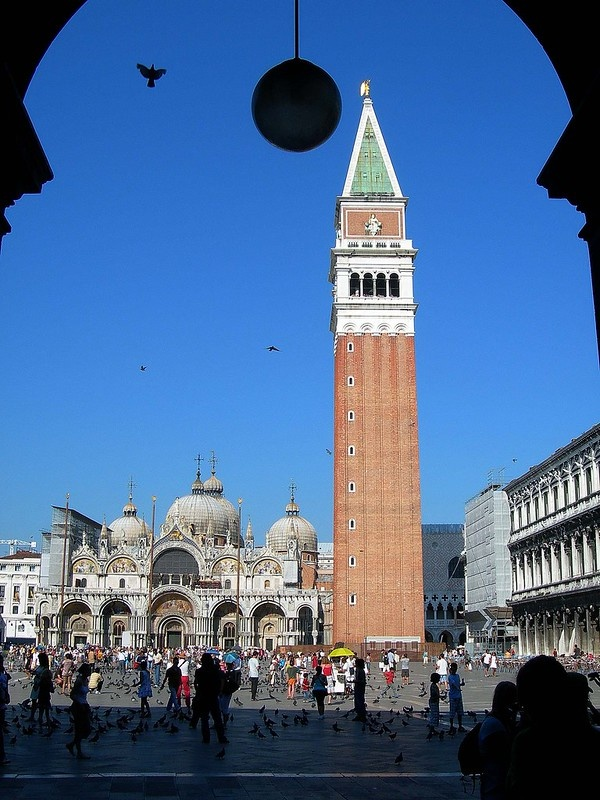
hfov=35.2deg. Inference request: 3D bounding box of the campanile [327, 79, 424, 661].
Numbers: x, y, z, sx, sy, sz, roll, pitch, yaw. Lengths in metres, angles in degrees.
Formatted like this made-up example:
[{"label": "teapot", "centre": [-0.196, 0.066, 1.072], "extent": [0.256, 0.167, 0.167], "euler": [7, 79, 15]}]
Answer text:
[{"label": "campanile", "centre": [6.098, -4.797, 78.204], "extent": [6.416, 49.093, 3.281], "euler": [1, -13, -1]}]
